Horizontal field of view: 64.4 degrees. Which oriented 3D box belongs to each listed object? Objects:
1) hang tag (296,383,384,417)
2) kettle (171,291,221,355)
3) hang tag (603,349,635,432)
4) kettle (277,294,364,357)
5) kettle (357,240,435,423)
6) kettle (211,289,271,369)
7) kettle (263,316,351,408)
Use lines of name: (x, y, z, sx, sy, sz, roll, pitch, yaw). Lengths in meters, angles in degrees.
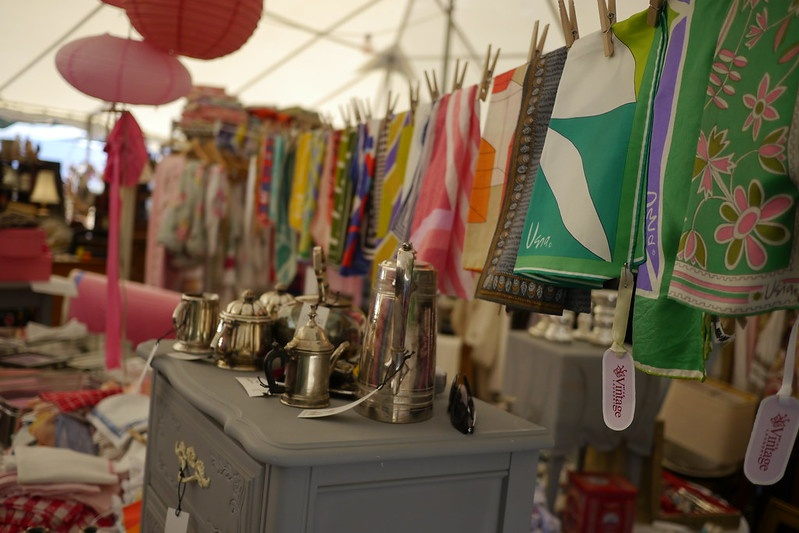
hang tag: (-0.195, 0.410, 1.849, 0.299, 0.061, 0.052, -12, -9, 19)
kettle: (-0.721, 0.191, 2.198, 0.128, 0.201, 0.181, 16, 11, 30)
hang tag: (0.577, 0.302, 1.672, 0.078, 0.290, 0.038, 0, 18, 19)
kettle: (-0.263, 0.163, 2.108, 0.213, 0.203, 0.210, 9, -3, -41)
kettle: (0.008, 0.212, 1.818, 0.245, 0.503, 0.465, 5, 4, -2)
kettle: (-0.480, 0.219, 2.073, 0.155, 0.249, 0.271, 7, -8, -8)
kettle: (-0.265, 0.277, 1.919, 0.284, 0.288, 0.159, 2, 1, -42)
